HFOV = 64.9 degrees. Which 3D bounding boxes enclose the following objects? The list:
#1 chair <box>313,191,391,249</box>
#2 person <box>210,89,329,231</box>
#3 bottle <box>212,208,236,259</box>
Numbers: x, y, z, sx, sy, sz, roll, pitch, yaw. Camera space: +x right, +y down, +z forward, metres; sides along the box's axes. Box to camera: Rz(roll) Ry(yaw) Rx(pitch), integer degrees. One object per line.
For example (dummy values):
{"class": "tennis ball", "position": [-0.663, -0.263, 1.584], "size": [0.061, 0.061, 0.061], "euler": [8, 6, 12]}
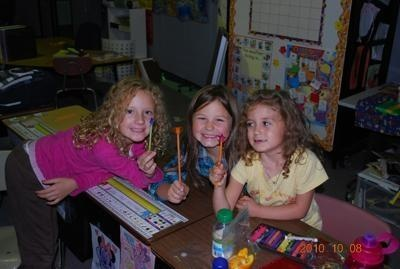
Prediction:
{"class": "chair", "position": [0.909, 0.453, 1.951], "size": [0.360, 0.240, 0.386], "euler": [7, 18, 20]}
{"class": "person", "position": [0.382, 0.297, 1.848], "size": [0.461, 1.005, 0.502], "euler": [16, 24, 35]}
{"class": "bottle", "position": [0.110, 0.469, 1.495], "size": [0.100, 0.212, 0.131], "euler": [2, 21, 2]}
